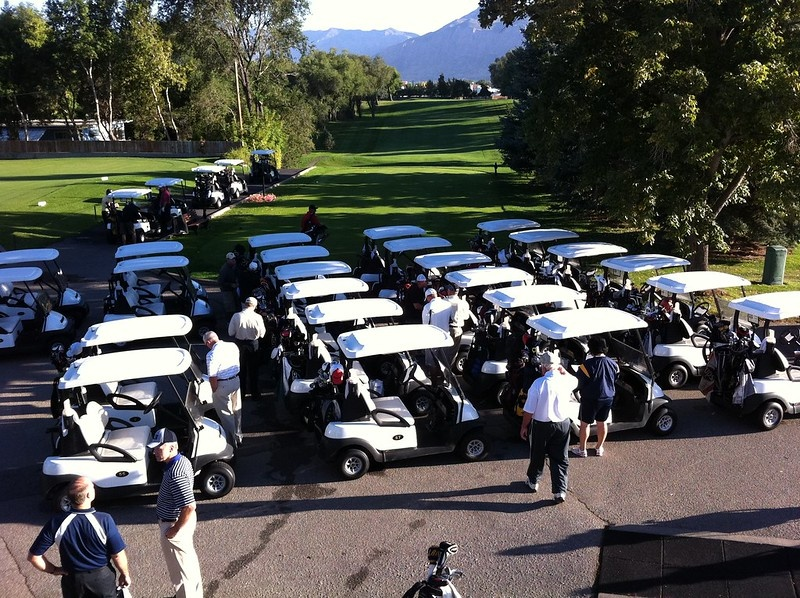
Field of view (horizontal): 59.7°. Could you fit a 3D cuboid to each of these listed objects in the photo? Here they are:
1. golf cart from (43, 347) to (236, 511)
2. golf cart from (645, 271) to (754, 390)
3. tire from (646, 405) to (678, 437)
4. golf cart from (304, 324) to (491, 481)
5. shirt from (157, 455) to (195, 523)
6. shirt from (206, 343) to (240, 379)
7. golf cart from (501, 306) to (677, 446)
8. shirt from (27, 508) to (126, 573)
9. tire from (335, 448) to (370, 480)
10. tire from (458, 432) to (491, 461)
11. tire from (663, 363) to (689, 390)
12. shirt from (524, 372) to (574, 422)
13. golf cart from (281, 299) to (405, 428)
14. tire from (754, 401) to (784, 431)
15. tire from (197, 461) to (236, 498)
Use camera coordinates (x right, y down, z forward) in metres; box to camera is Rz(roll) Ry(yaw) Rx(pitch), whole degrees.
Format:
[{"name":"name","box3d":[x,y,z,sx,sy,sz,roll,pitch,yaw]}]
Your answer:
[{"name":"golf cart","box3d":[-4.354,2.011,11.852,3.042,2.525,2.094,-5,18,-13]},{"name":"golf cart","box3d":[6.360,0.696,14.498,1.913,2.043,1.188,-3,11,11]},{"name":"tire","box3d":[4.758,2.236,12.677,0.472,0.553,0.195,3,13,-22]},{"name":"golf cart","box3d":[-0.094,1.479,12.593,2.911,2.530,2.063,-8,18,-14]},{"name":"shirt","box3d":[-3.020,2.539,9.268,0.487,0.818,0.404,-7,9,-24]},{"name":"shirt","box3d":[-3.090,1.097,12.064,0.472,0.461,0.253,-15,21,-40]},{"name":"golf cart","box3d":[3.714,1.251,13.303,2.903,2.684,2.231,-8,16,-22]},{"name":"shirt","box3d":[-4.163,3.129,8.925,1.047,0.832,0.477,-3,16,-8]},{"name":"tire","box3d":[-0.811,2.752,11.652,0.465,0.550,0.196,0,12,-16]},{"name":"tire","box3d":[1.264,2.565,12.066,0.382,0.450,0.146,-11,11,-12]},{"name":"tire","box3d":[5.674,1.584,14.323,0.405,0.475,0.163,-8,18,-20]},{"name":"shirt","box3d":[2.410,1.552,11.012,0.844,0.776,0.339,-7,9,-22]},{"name":"golf cart","box3d":[-1.248,1.082,13.994,2.451,2.145,1.885,-7,17,-16]},{"name":"tire","box3d":[6.810,2.143,12.846,0.408,0.478,0.164,-11,16,-21]},{"name":"tire","box3d":[-3.015,2.929,11.259,0.461,0.544,0.207,-11,9,-10]}]
